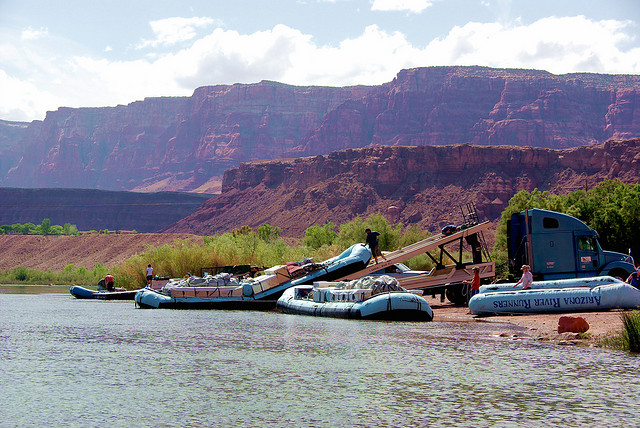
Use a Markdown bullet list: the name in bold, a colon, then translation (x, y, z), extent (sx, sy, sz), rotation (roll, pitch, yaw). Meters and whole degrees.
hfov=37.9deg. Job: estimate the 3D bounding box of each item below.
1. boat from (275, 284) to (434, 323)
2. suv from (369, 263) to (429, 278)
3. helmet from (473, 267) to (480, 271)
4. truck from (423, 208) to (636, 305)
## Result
- **boat**: translation (1.777, 4.984, 51.358), extent (6.707, 1.225, 3.068), rotation (-4, -11, 41)
- **suv**: translation (4.962, 3.536, 57.032), extent (2.863, 0.941, 1.308), rotation (-6, 1, 3)
- **helmet**: translation (8.657, 3.065, 51.444), extent (0.343, 0.140, 0.498), rotation (-1, -4, -1)
- **truck**: translation (13.400, 1.879, 54.862), extent (8.697, 3.861, 3.353), rotation (-5, 1, 11)
